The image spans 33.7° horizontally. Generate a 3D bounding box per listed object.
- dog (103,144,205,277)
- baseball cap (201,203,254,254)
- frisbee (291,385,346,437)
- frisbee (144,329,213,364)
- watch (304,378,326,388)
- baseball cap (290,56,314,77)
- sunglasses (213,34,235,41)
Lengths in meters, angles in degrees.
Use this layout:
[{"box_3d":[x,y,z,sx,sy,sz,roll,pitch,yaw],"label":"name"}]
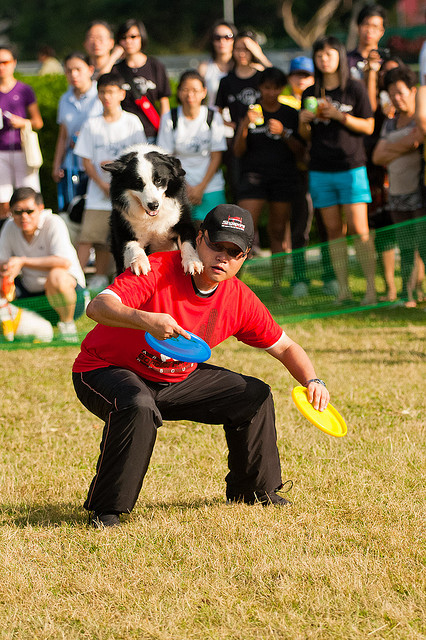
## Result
[{"box_3d":[-0.372,-0.674,4.356,0.528,0.712,1.069,-4,10,-3],"label":"dog"},{"box_3d":[0.064,-0.398,2.852,0.225,0.153,0.304,15,16,-5],"label":"baseball cap"},{"box_3d":[0.468,0.416,3.088,0.242,0.040,0.235,41,14,-26],"label":"frisbee"},{"box_3d":[-0.114,0.100,2.704,0.246,0.095,0.155,-4,12,-35],"label":"frisbee"},{"box_3d":[0.462,0.285,3.144,0.102,0.026,0.103,-5,-10,2],"label":"watch"},{"box_3d":[0.980,-2.799,7.662,0.247,0.222,0.342,2,10,-1],"label":"baseball cap"},{"box_3d":[0.118,-3.204,7.919,0.233,0.079,0.135,3,10,0],"label":"sunglasses"}]
